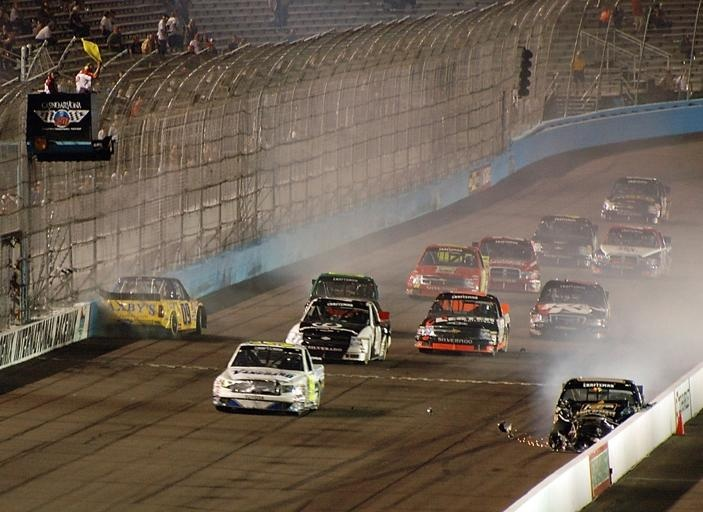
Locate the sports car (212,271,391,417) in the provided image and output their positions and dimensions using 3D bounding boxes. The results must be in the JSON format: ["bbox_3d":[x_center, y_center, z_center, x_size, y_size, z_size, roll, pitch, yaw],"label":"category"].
[{"bbox_3d":[-0.865,2.230,37.511,2.157,1.478,7.481,5,14,18],"label":"sports car"}]

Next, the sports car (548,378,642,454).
[{"bbox_3d":[5.430,3.303,34.048,1.780,1.400,2.985,-2,-1,13],"label":"sports car"}]
